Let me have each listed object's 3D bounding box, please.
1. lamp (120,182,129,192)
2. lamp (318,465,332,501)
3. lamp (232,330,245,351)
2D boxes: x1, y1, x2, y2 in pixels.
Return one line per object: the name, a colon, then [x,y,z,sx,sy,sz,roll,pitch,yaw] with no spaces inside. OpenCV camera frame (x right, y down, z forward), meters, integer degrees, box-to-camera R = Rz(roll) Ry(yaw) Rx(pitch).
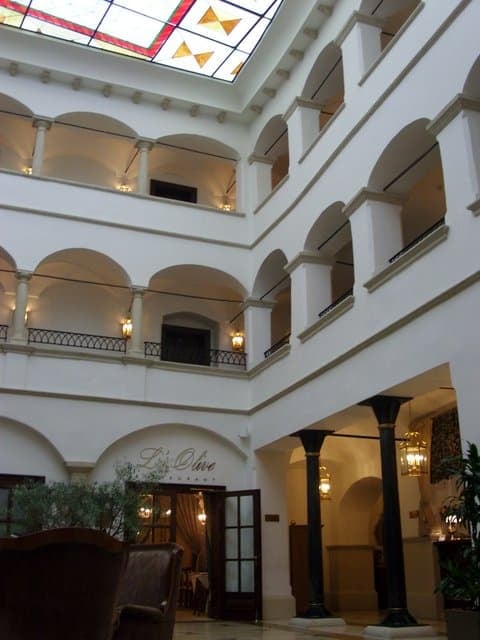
lamp: [-3.395,-3.938,16.534,0.263,0.253,0.426,-13,4,1]
lamp: [1.974,3.893,13.284,0.277,0.718,0.640,-12,4,12]
lamp: [-0.046,0.622,16.140,0.375,0.519,0.286,-13,4,-9]
